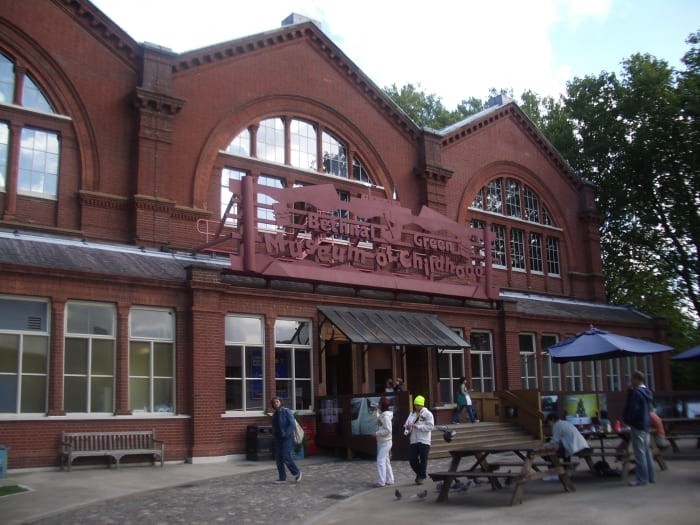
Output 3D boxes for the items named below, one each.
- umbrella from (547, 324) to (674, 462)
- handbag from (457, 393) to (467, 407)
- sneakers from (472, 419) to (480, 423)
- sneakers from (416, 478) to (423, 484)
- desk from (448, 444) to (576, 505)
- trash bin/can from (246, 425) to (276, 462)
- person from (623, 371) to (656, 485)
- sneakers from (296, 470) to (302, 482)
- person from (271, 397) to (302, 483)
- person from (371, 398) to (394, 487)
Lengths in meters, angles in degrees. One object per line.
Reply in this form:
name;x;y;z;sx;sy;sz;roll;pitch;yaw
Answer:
umbrella;9.734;4.929;24.533;4.783;3.542;4.792;-2;2;7
handbag;4.830;5.886;27.337;0.261;0.562;0.594;5;-17;-27
sneakers;5.320;6.771;27.130;0.290;0.145;0.401;-2;-11;0
sneakers;1.815;5.779;16.776;0.140;0.139;0.143;-1;-1;-16
desk;4.310;5.441;16.843;2.972;1.155;6.913;-8;-16;17
trash bin/can;-2.968;6.477;22.821;1.252;1.606;1.268;6;-15;-21
person;6.960;3.982;15.342;0.723;2.625;0.522;12;-20;-43
sneakers;-1.467;6.008;17.717;0.157;0.136;0.376;20;-47;24
person;-1.802;4.954;17.847;0.766;2.309;0.982;-1;-15;-6
person;0.895;4.832;17.171;0.453;2.275;0.620;-3;-15;2
